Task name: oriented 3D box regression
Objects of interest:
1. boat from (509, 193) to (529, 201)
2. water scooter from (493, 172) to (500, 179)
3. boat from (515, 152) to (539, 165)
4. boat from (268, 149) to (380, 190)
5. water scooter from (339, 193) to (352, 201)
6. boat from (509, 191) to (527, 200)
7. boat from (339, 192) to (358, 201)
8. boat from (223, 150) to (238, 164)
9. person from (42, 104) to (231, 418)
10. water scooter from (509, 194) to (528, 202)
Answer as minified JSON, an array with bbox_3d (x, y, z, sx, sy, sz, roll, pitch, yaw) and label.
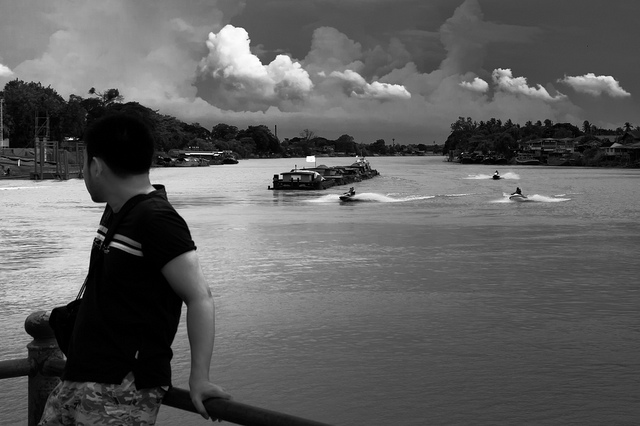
[{"bbox_3d":[17.708,-1.498,53.520,1.334,0.609,3.951,-5,-2,10],"label":"boat"},{"bbox_3d":[27.500,-6.090,93.517,0.942,1.259,7.123,2,6,16],"label":"water scooter"},{"bbox_3d":[65.128,-17.493,188.934,6.594,3.323,11.860,1,6,14],"label":"boat"},{"bbox_3d":[0.527,-5.415,80.245,5.698,4.073,24.396,-1,1,15],"label":"boat"},{"bbox_3d":[2.352,-1.532,53.550,1.032,0.784,2.783,12,5,14],"label":"water scooter"},{"bbox_3d":[17.476,-1.654,52.799,1.394,0.706,0.979,1,7,10],"label":"boat"},{"bbox_3d":[2.501,-1.594,53.139,0.990,0.767,1.452,5,8,37],"label":"boat"},{"bbox_3d":[-30.521,-19.179,205.101,3.250,3.664,8.814,0,6,0],"label":"boat"},{"bbox_3d":[-1.317,0.382,4.236,1.317,2.213,0.625,3,8,24],"label":"person"},{"bbox_3d":[17.398,-1.431,52.578,1.416,0.554,1.219,1,6,14],"label":"water scooter"}]
